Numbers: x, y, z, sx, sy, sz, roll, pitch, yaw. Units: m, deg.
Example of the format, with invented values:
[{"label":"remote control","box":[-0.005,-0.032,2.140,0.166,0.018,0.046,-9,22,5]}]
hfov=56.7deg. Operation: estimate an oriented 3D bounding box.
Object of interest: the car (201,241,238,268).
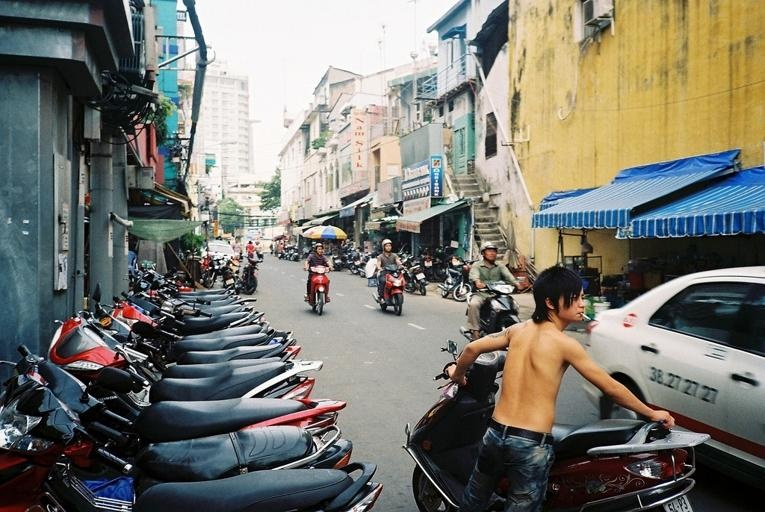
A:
[{"label":"car","box":[-6.080,-0.131,26.486,1.121,0.818,2.452,3,3,-18]}]

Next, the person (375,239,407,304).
[{"label":"person","box":[0.232,0.619,16.852,0.592,1.153,2.011,-2,10,-4]}]

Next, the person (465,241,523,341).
[{"label":"person","box":[1.909,0.684,11.339,0.785,1.157,1.738,-5,11,-4]}]

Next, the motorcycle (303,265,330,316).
[{"label":"motorcycle","box":[-1.551,0.750,16.448,0.508,0.701,1.104,0,1,-8]}]

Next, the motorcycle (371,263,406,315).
[{"label":"motorcycle","box":[0.197,0.787,16.497,0.499,1.062,1.209,-1,1,-10]}]

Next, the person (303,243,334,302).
[{"label":"person","box":[-1.495,0.512,16.715,0.693,0.955,1.559,1,12,-6]}]

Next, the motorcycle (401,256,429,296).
[{"label":"motorcycle","box":[1.058,0.588,21.378,0.535,0.786,1.306,-2,8,-10]}]

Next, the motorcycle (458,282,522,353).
[{"label":"motorcycle","box":[1.788,0.827,11.014,0.527,0.886,1.306,7,-12,-14]}]

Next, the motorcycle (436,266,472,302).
[{"label":"motorcycle","box":[2.027,0.758,19.434,0.578,0.758,1.135,15,-1,-20]}]

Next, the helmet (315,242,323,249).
[{"label":"helmet","box":[-1.449,-0.236,16.217,0.144,0.136,0.111,-12,19,-31]}]
